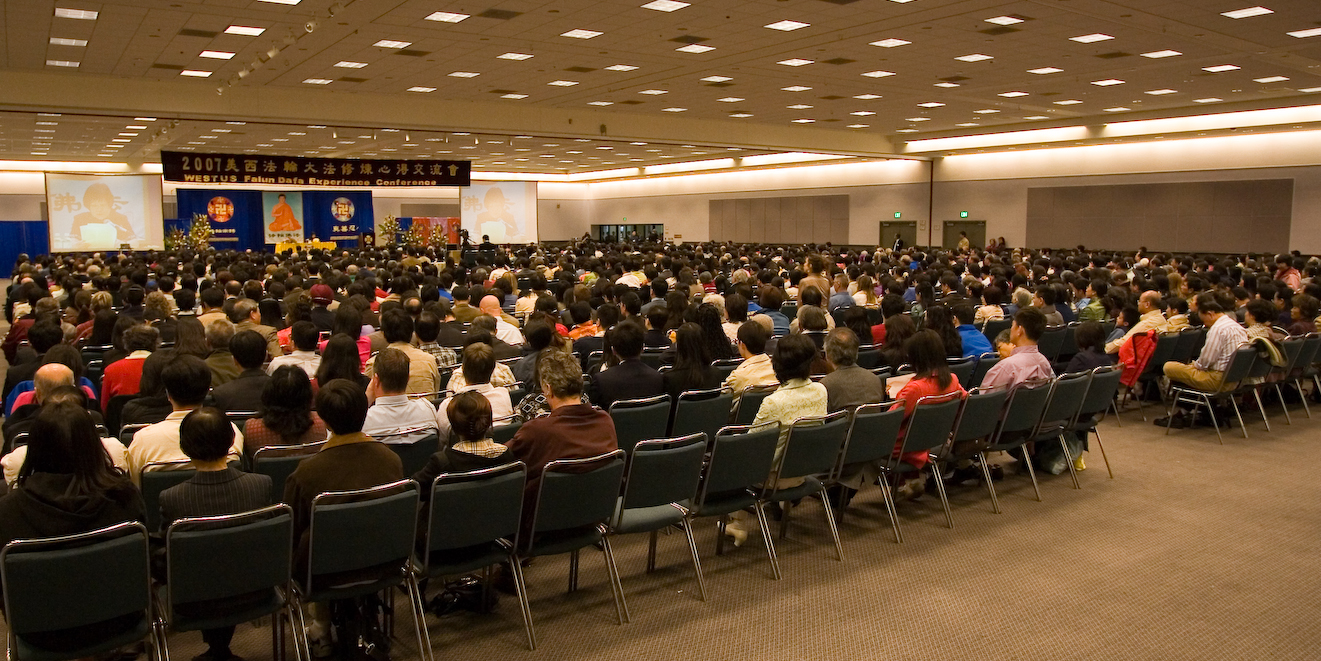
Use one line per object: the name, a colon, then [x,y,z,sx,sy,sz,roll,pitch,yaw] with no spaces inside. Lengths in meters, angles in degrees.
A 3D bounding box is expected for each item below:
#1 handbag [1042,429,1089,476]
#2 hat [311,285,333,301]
handbag: [5.783,1.767,10.804,0.690,0.600,0.364,-8,10,-29]
hat: [-6.010,-0.680,13.307,0.323,0.285,0.301,-5,8,-19]
